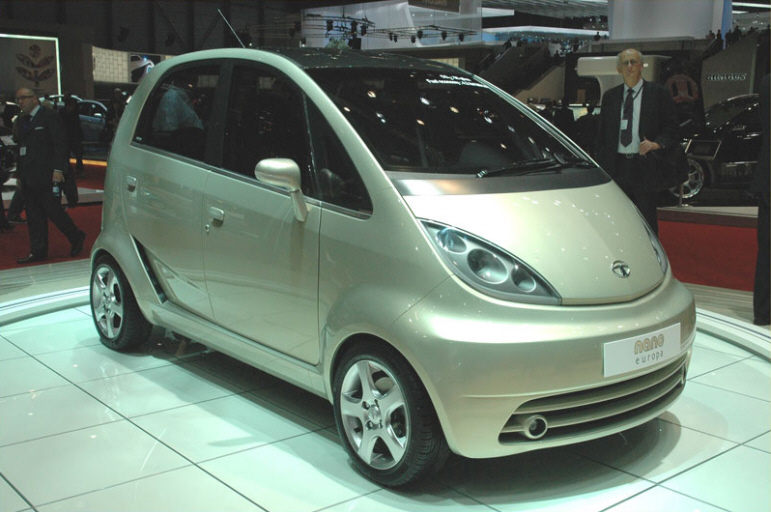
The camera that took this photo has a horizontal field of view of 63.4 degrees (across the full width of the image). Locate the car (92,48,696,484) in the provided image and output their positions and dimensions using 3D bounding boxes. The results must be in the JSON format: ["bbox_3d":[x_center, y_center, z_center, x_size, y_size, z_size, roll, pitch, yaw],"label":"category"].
[{"bbox_3d":[-0.275,-0.210,4.150,3.678,1.997,1.956,13,17,41],"label":"car"}]

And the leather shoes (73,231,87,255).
[{"bbox_3d":[-3.366,-0.147,6.888,0.100,0.305,0.129,15,12,12],"label":"leather shoes"}]
